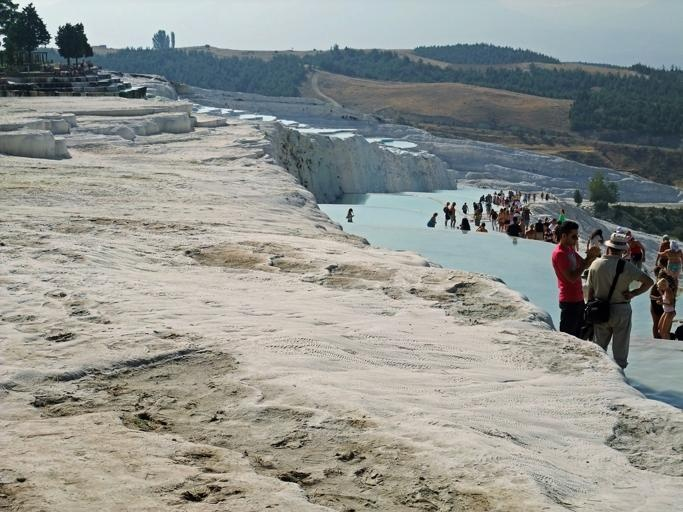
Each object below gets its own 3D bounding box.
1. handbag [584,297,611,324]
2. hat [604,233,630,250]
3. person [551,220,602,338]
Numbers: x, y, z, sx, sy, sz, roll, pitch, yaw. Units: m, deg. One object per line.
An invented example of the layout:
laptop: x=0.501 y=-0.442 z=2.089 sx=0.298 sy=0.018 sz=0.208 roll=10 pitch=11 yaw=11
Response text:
handbag: x=2.980 y=0.641 z=10.739 sx=0.383 sy=0.260 sz=0.217 roll=-1 pitch=-1 yaw=1
hat: x=3.205 y=-0.147 z=10.735 sx=0.296 sy=0.104 sz=0.254 roll=8 pitch=18 yaw=17
person: x=2.727 y=0.251 z=10.842 sx=0.513 sy=1.368 sz=0.818 roll=5 pitch=13 yaw=13
